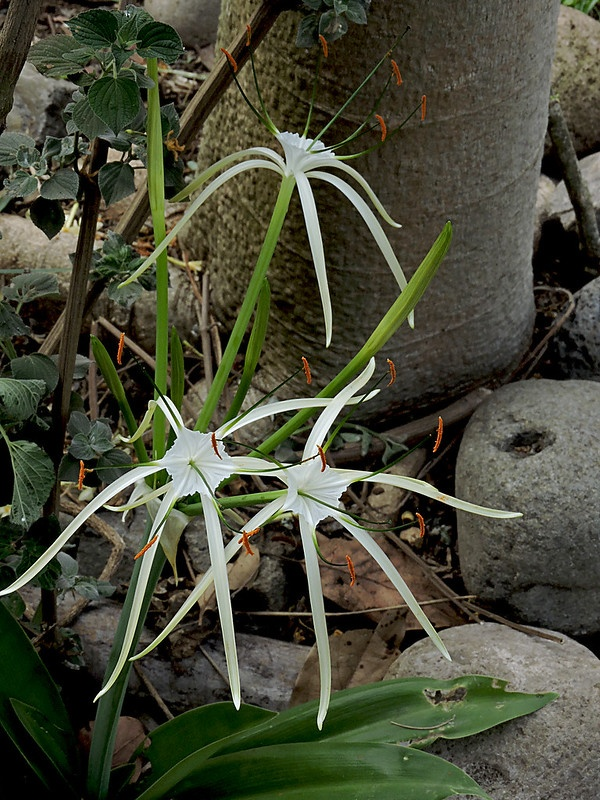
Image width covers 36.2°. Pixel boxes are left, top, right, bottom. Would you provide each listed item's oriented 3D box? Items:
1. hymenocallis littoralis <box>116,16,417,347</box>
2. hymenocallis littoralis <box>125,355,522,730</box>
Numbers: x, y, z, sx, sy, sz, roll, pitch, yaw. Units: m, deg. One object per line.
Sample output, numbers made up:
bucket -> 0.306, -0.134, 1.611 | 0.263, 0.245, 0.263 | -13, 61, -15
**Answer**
hymenocallis littoralis -> -0.029, -0.235, 0.957 | 0.367, 0.195, 0.321 | 4, 21, -17
hymenocallis littoralis -> -0.026, 0.093, 0.788 | 0.409, 0.114, 0.343 | -3, 64, 3
